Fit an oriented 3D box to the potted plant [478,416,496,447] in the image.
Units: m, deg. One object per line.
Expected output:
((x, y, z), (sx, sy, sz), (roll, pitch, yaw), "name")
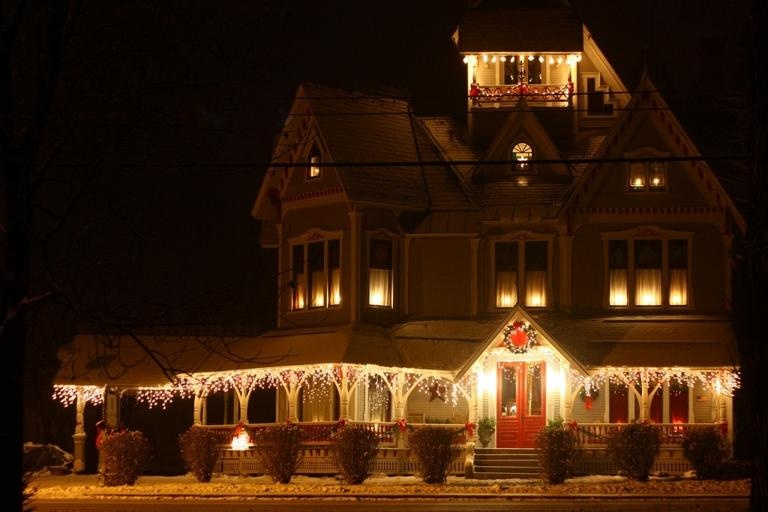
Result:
((3.513, 6.103, 48.301), (0.794, 1.081, 0.856), (1, 0, -10), "potted plant")
